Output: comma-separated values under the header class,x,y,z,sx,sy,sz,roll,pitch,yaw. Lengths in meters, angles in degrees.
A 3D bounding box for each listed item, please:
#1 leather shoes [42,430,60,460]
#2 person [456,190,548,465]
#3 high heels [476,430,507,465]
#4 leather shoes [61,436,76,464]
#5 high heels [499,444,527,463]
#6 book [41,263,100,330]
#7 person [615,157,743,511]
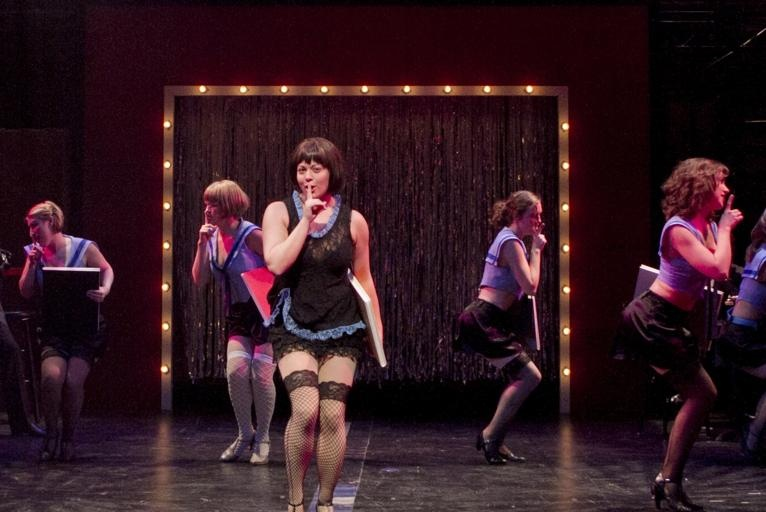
class,x,y,z,sx,sy,sz,roll,pitch,yaw
leather shoes,-2.435,1.384,5.429,0.077,0.089,0.233,3,6,-11
person,1.028,0.511,5.817,0.589,1.995,1.116,1,2,25
high heels,0.787,1.399,5.374,0.207,0.207,0.111,0,1,8
leather shoes,-2.290,1.414,5.366,0.063,0.084,0.192,0,-2,-6
high heels,0.916,1.469,5.481,0.270,0.127,0.085,-6,-9,33
book,-2.287,0.324,5.380,0.407,0.479,0.106,3,5,-10
person,1.786,0.450,4.467,0.657,2.098,0.440,1,2,26
